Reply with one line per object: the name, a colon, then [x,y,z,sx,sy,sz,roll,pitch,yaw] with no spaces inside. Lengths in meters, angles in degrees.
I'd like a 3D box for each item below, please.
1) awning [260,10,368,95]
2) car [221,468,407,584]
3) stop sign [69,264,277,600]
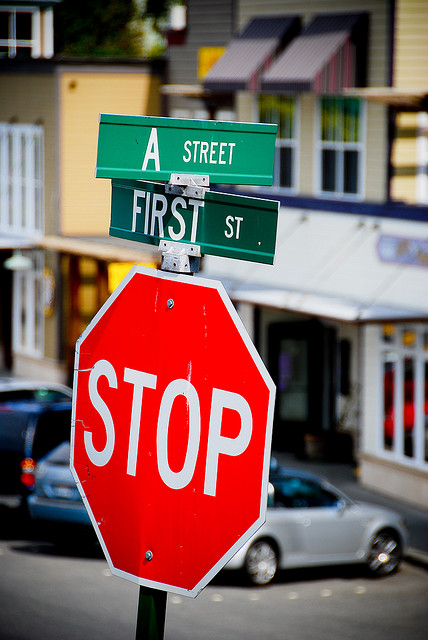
awning: [1.787,-4.156,16.984,0.900,1.535,2.529,0,10,13]
car: [0.980,2.080,11.791,2.221,1.301,1.327,-2,1,-21]
stop sign: [-0.151,0.351,3.674,0.252,1.042,0.852,-1,4,-42]
